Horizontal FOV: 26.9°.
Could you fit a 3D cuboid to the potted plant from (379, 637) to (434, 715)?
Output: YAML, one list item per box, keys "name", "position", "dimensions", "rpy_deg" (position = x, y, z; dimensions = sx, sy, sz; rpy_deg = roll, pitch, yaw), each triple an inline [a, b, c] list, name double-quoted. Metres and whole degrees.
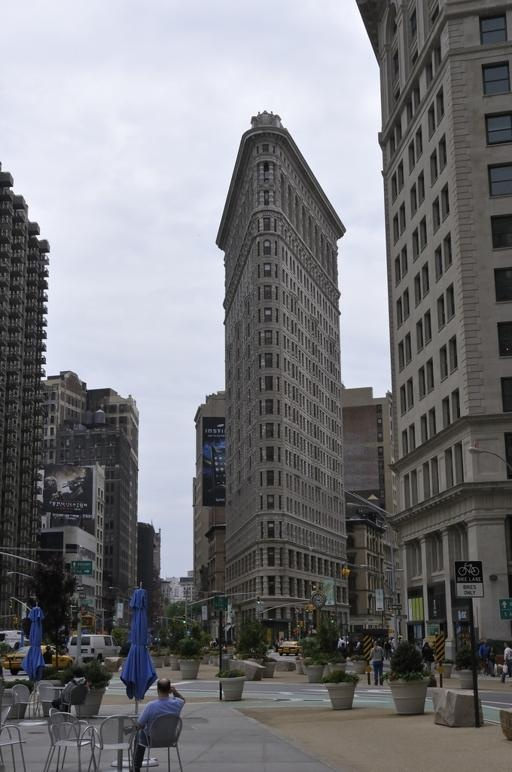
- name: "potted plant"
  position: [3.393, 6.422, 23.719]
  dimensions: [1.266, 1.977, 1.320]
  rpy_deg: [0, -2, 12]

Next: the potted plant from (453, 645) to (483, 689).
- name: "potted plant"
  position: [6.374, 8.508, 32.427]
  dimensions: [0.684, 1.246, 2.236]
  rpy_deg: [-2, -16, 9]
